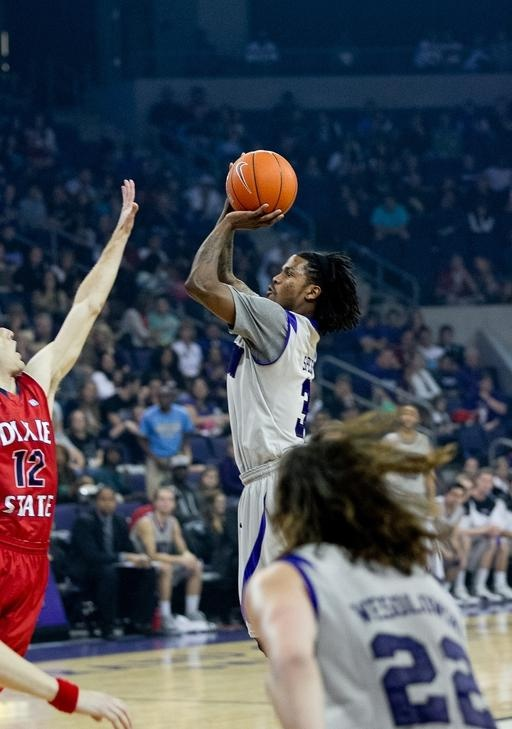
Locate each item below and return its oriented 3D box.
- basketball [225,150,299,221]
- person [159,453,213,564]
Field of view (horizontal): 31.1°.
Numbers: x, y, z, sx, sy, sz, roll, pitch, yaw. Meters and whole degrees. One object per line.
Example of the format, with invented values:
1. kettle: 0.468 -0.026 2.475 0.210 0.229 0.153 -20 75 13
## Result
1. basketball: 0.032 -0.720 3.567 0.321 0.325 0.276 -5 36 2
2. person: -0.578 1.297 7.794 0.321 0.946 0.280 -13 18 -14
